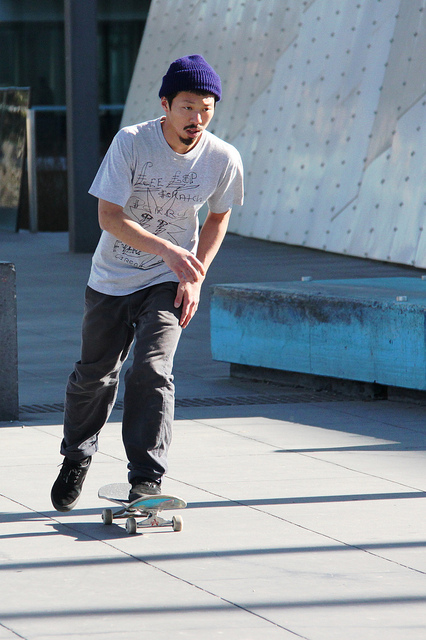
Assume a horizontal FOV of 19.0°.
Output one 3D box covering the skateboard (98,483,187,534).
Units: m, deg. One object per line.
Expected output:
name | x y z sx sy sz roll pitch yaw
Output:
skateboard | -0.274 0.704 4.858 0.300 0.146 0.439 8 4 -26

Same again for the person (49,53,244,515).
person | -0.245 -0.102 4.858 0.536 1.376 0.531 10 4 4

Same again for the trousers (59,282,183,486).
trousers | -0.331 0.221 4.872 0.303 0.602 0.522 7 5 -34
